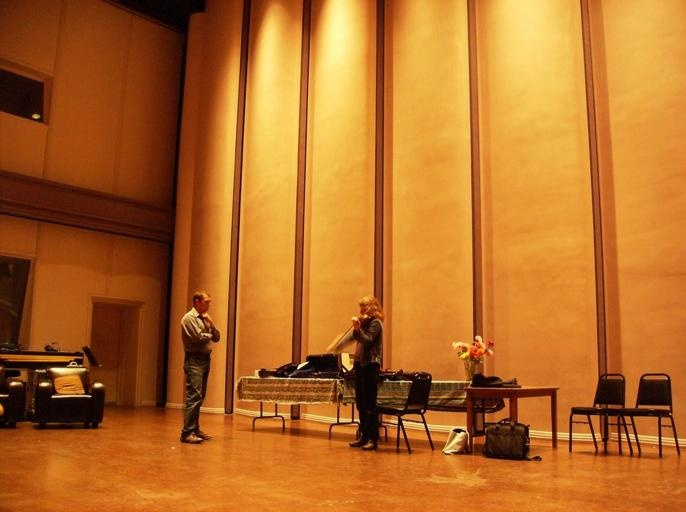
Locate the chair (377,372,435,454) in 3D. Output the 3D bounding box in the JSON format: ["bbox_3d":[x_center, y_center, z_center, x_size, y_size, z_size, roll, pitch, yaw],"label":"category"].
[{"bbox_3d":[0.743,1.853,7.443,0.595,0.904,0.624,1,-8,25],"label":"chair"}]

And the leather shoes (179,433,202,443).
[{"bbox_3d":[-1.846,2.238,7.583,0.281,0.141,0.099,-3,-7,18],"label":"leather shoes"}]

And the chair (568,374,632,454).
[{"bbox_3d":[3.357,2.046,8.055,0.714,1.259,0.624,25,-25,-38],"label":"chair"}]

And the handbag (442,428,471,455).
[{"bbox_3d":[1.367,2.192,7.344,0.322,0.345,0.242,12,-17,-22],"label":"handbag"}]

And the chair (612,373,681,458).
[{"bbox_3d":[3.817,2.000,7.703,0.663,1.335,0.717,-9,-24,40],"label":"chair"}]

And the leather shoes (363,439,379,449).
[{"bbox_3d":[0.328,2.257,7.357,0.083,0.075,0.167,-11,-20,37],"label":"leather shoes"}]

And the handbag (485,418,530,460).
[{"bbox_3d":[1.853,2.084,6.960,0.429,0.374,0.175,-7,-35,31],"label":"handbag"}]

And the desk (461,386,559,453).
[{"bbox_3d":[2.184,2.006,7.889,1.188,0.937,1.224,-1,-1,12],"label":"desk"}]

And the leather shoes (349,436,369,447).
[{"bbox_3d":[0.182,2.294,7.610,0.098,0.133,0.287,8,-12,-41],"label":"leather shoes"}]

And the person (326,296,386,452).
[{"bbox_3d":[0.219,1.396,7.391,0.520,1.791,0.790,1,-12,0],"label":"person"}]

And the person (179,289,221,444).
[{"bbox_3d":[-1.775,1.364,7.590,0.454,1.832,0.575,4,-12,-15],"label":"person"}]

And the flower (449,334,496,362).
[{"bbox_3d":[1.724,1.240,8.118,0.518,0.318,0.549,5,-7,7],"label":"flower"}]
